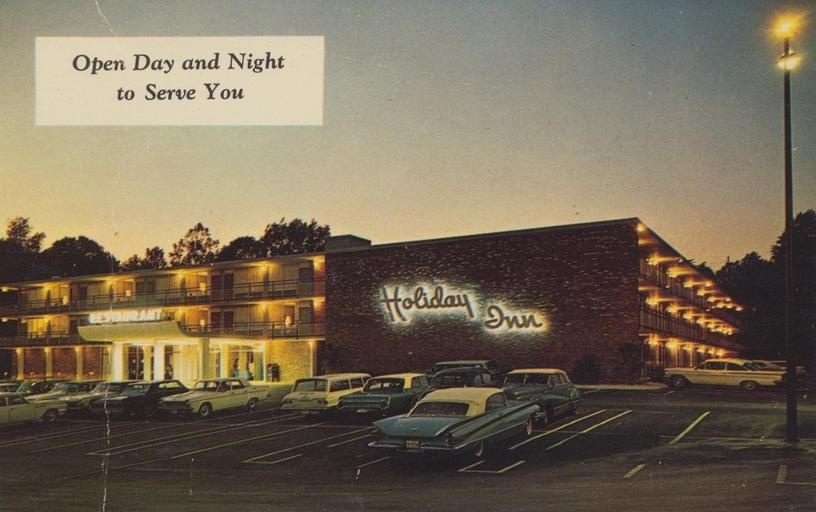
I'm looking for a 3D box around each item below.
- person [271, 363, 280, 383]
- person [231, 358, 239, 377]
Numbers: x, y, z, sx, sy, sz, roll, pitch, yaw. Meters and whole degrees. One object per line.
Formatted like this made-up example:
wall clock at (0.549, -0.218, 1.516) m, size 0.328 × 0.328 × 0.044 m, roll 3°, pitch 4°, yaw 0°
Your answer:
person at (-9.819, 8.637, 71.267) m, size 0.647 × 1.295 × 0.881 m, roll -3°, pitch 8°, yaw 1°
person at (-12.895, 8.341, 72.143) m, size 0.650 × 1.162 × 1.333 m, roll -4°, pitch 7°, yaw -9°
